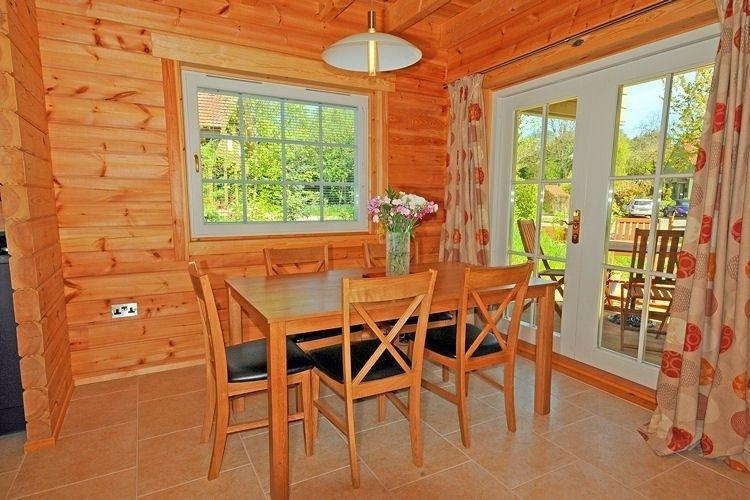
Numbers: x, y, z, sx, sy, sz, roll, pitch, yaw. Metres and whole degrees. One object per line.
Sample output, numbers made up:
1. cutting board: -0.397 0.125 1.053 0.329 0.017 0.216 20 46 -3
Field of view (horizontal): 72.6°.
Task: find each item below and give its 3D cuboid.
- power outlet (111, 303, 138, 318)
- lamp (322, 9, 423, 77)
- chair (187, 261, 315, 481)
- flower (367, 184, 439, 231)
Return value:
1. power outlet: -2.111 0.504 4.296 0.216 0.116 0.043 1 6 -26
2. lamp: -0.022 -1.349 3.625 0.485 0.274 0.503 9 12 43
3. chair: -0.798 0.755 3.422 0.743 1.384 0.592 -3 12 -18
4. flower: 0.199 -0.277 3.844 0.422 0.314 0.392 9 13 20
